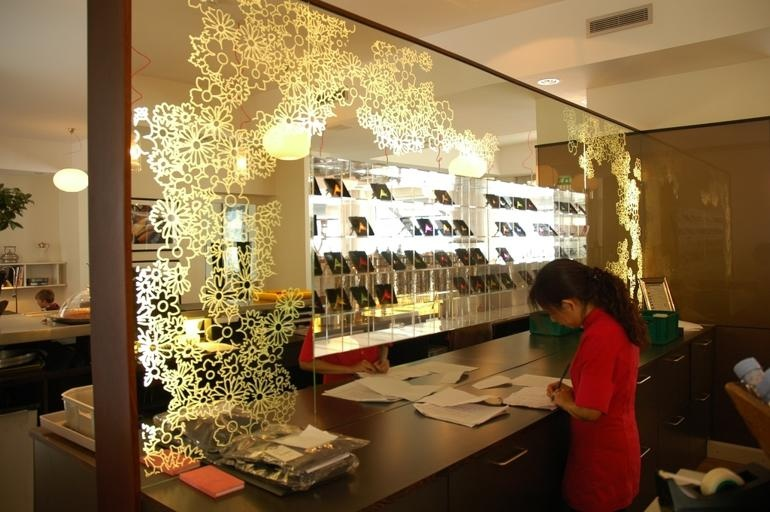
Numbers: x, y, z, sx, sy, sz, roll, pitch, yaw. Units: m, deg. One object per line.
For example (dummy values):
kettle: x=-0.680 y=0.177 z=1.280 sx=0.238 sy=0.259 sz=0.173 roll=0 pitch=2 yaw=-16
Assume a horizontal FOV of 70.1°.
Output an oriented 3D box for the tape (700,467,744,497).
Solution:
tape: x=1.365 y=0.886 z=2.214 sx=0.121 sy=0.126 sz=0.117 roll=-21 pitch=14 yaw=-41

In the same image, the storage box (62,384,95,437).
storage box: x=-1.589 y=0.780 z=2.856 sx=0.220 sy=0.142 sz=0.322 roll=5 pitch=-7 yaw=-34

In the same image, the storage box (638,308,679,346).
storage box: x=2.150 y=0.560 z=4.290 sx=0.426 sy=0.188 sz=0.303 roll=-4 pitch=4 yaw=-41
